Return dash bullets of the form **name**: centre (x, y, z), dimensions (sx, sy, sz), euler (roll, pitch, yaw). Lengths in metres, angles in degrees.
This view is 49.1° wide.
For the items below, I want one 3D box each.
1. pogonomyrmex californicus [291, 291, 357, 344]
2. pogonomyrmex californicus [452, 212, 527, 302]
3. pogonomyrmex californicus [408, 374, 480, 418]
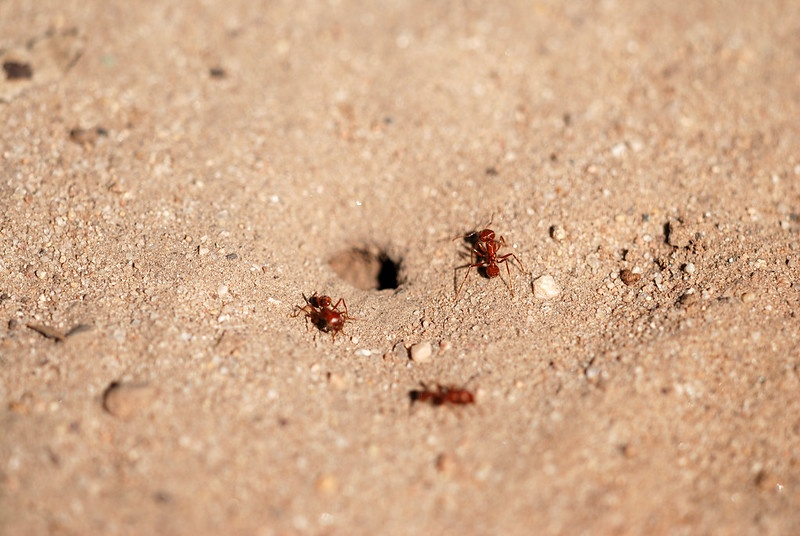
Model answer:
- **pogonomyrmex californicus**: centre (-0.846, 0.477, 9.577), dimensions (0.659, 0.527, 0.548), euler (-3, 46, 0)
- **pogonomyrmex californicus**: centre (1.012, -0.139, 9.759), dimensions (0.786, 0.329, 0.853), euler (1, 83, 0)
- **pogonomyrmex californicus**: centre (0.455, 1.329, 9.077), dimensions (0.729, 0.146, 0.336), euler (4, 83, 0)
